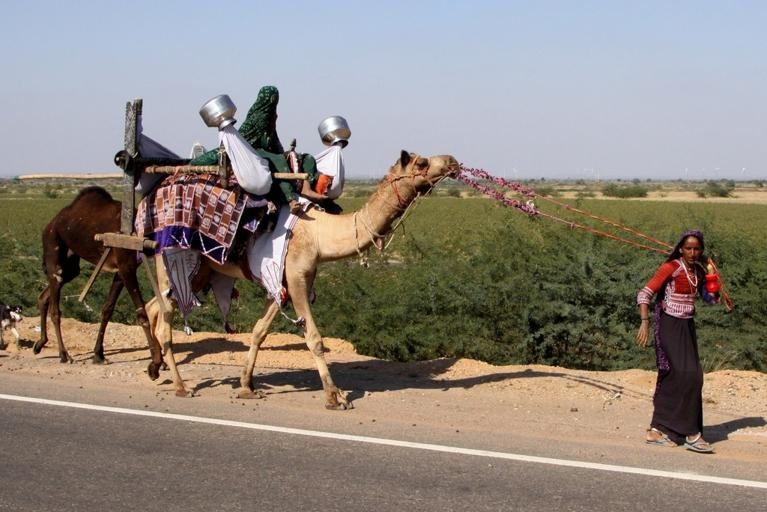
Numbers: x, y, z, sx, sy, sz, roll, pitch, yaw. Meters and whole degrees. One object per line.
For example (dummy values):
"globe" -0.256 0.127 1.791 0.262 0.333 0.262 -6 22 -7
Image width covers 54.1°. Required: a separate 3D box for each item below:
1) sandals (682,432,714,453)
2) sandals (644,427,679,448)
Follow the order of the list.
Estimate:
"sandals" 4.142 2.488 9.951 0.403 0.188 0.174 1 -1 43
"sandals" 3.703 2.450 10.034 0.490 0.205 0.183 1 1 -13
